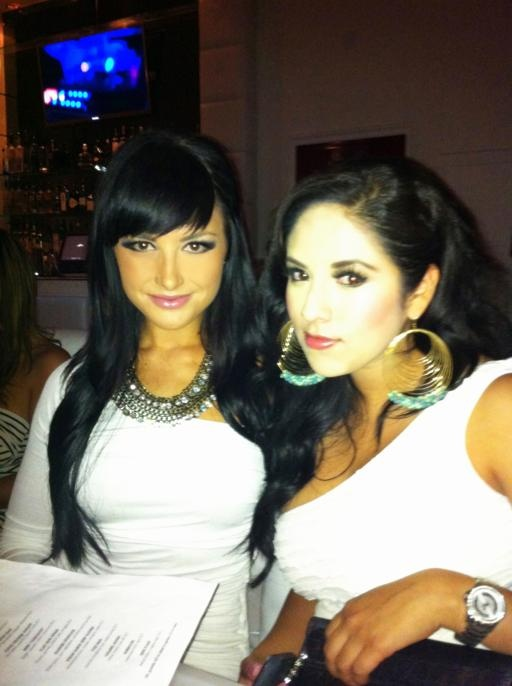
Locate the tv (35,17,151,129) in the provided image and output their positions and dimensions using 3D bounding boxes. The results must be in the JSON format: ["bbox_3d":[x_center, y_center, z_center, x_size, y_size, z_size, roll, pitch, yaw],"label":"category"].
[{"bbox_3d":[-1.069,-1.691,4.059,0.878,0.551,0.077,9,16,24],"label":"tv"}]

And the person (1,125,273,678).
[{"bbox_3d":[-0.267,0.052,1.474,0.603,1.050,0.351,2,15,0],"label":"person"}]

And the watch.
[{"bbox_3d":[0.369,0.440,1.042,0.078,0.031,0.105,43,81,4],"label":"watch"}]
